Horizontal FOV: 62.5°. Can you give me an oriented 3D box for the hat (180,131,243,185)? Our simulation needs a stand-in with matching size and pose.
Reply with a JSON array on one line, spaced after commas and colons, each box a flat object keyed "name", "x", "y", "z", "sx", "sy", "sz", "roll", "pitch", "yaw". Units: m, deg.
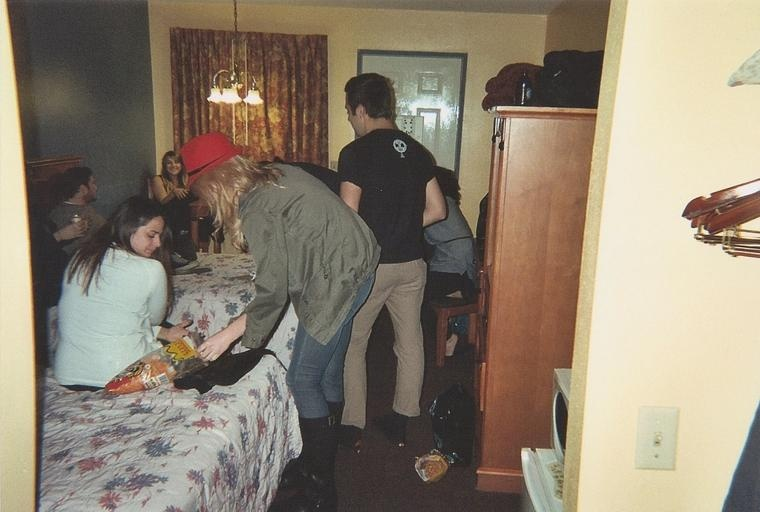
[{"name": "hat", "x": -0.668, "y": -0.403, "z": 2.487, "sx": 0.220, "sy": 0.093, "sz": 0.179, "roll": -32, "pitch": 14, "yaw": -12}]

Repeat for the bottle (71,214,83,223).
[{"name": "bottle", "x": -1.849, "y": -0.234, "z": 3.820, "sx": 0.079, "sy": 0.058, "sz": 0.078, "roll": 1, "pitch": 0, "yaw": 0}]

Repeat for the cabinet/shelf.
[{"name": "cabinet/shelf", "x": 0.669, "y": 0.240, "z": 2.839, "sx": 0.439, "sy": 1.790, "sz": 0.137, "roll": 4, "pitch": 14, "yaw": 2}]

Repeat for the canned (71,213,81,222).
[{"name": "canned", "x": -1.850, "y": -0.234, "z": 3.818, "sx": 0.077, "sy": 0.056, "sz": 0.077, "roll": 2, "pitch": -6, "yaw": -23}]

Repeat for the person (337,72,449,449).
[{"name": "person", "x": 0.066, "y": 0.046, "z": 3.268, "sx": 0.558, "sy": 1.833, "sz": 0.503, "roll": 0, "pitch": 14, "yaw": -4}]

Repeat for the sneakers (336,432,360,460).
[{"name": "sneakers", "x": -0.147, "y": 0.962, "z": 3.267, "sx": 0.133, "sy": 0.129, "sz": 0.082, "roll": 10, "pitch": -18, "yaw": -9}]

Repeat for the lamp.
[{"name": "lamp", "x": -1.344, "y": -1.932, "z": 5.876, "sx": 0.544, "sy": 1.019, "sz": 1.244, "roll": 0, "pitch": 14, "yaw": -14}]

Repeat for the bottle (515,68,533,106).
[{"name": "bottle", "x": 0.679, "y": -0.775, "z": 2.912, "sx": 0.071, "sy": 0.150, "sz": 0.223, "roll": 6, "pitch": 13, "yaw": 10}]

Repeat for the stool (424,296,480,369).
[{"name": "stool", "x": 0.506, "y": 0.505, "z": 4.339, "sx": 0.441, "sy": 0.429, "sz": 0.423, "roll": -2, "pitch": 4, "yaw": -14}]
